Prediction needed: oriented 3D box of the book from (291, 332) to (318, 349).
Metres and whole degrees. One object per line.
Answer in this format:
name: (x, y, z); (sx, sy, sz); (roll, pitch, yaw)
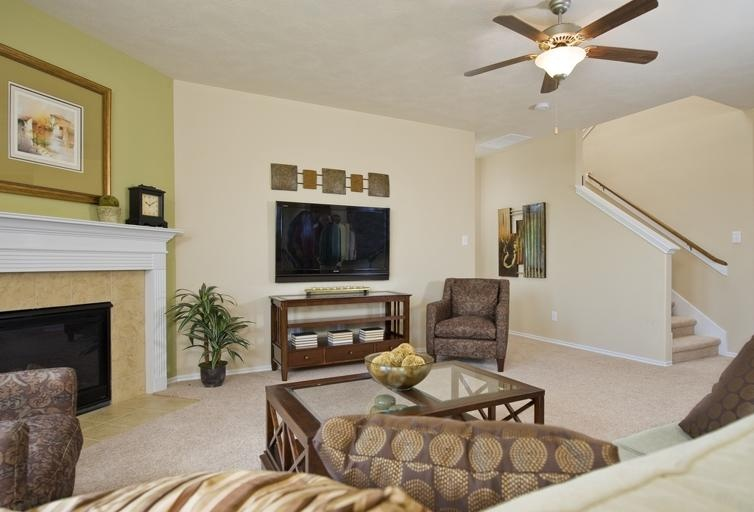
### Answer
book: (-0.765, 0.895, 5.355); (0.286, 0.132, 0.283); (-2, 8, -16)

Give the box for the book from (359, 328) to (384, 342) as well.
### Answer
book: (-0.068, 0.871, 5.651); (0.200, 0.085, 0.152); (0, 2, -14)

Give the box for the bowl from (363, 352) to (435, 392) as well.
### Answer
bowl: (0.163, 0.798, 3.427); (0.443, 0.167, 0.428); (0, -2, 0)

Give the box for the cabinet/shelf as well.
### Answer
cabinet/shelf: (-0.392, 0.873, 5.637); (1.548, 0.837, 0.501); (0, 1, -27)

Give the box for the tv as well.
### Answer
tv: (-0.556, -0.183, 5.717); (1.032, 0.607, 0.020); (1, -1, -25)

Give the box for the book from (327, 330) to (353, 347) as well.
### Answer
book: (-0.415, 0.879, 5.492); (0.216, 0.099, 0.162); (1, 1, -13)

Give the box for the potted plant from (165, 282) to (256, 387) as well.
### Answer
potted plant: (-1.717, 0.796, 5.264); (1.006, 1.049, 0.957); (4, -6, -39)

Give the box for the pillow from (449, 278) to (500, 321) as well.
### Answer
pillow: (1.237, 0.524, 6.280); (0.805, 0.652, 0.427); (0, -11, 14)

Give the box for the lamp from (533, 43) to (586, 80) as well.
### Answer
lamp: (1.486, -1.541, 3.978); (0.309, 0.119, 0.298); (4, -12, -21)

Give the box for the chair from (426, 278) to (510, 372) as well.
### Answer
chair: (1.107, 0.762, 5.956); (0.945, 0.982, 0.879); (0, 1, 12)
